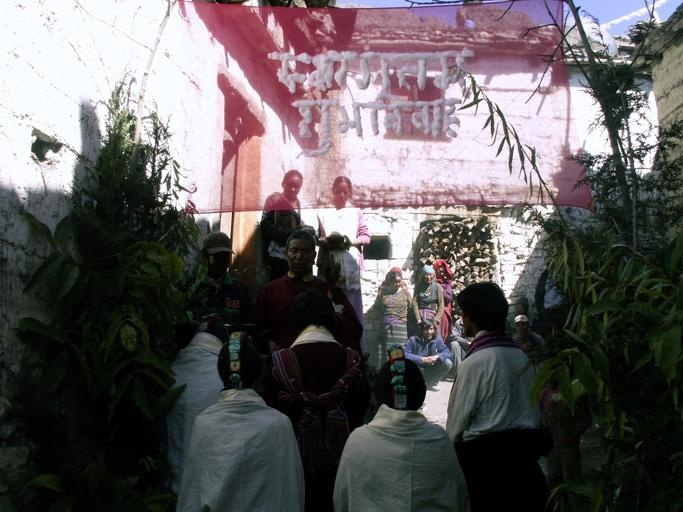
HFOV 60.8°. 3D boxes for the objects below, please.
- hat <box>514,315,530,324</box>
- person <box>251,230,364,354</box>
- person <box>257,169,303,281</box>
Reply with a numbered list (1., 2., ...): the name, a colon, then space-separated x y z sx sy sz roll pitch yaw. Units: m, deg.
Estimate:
1. hat: 2.129 0.732 6.804 0.172 0.091 0.125 35 -29 -32
2. person: -0.296 0.397 4.463 0.779 1.197 0.642 2 8 6
3. person: -0.595 -0.128 6.092 0.473 1.508 0.407 -4 16 -30
